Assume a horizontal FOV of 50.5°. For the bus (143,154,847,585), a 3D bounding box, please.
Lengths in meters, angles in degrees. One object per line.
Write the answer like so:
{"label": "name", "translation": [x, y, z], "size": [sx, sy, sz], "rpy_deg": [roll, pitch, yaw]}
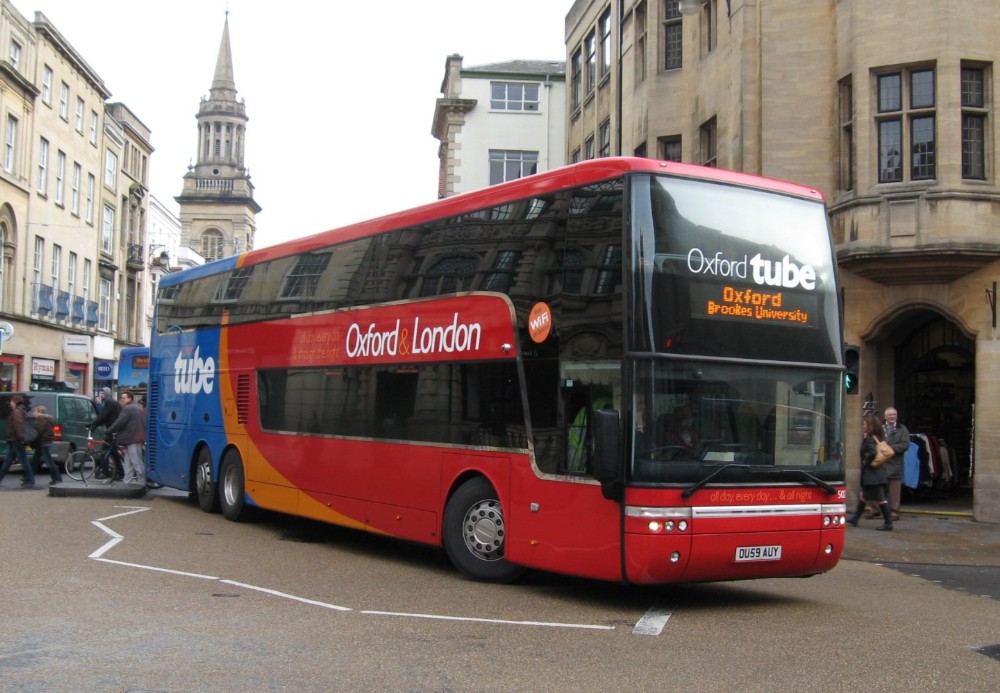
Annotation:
{"label": "bus", "translation": [-1.373, 0.643, 17.837], "size": [4.370, 5.207, 13.940], "rpy_deg": [4, -4, -40]}
